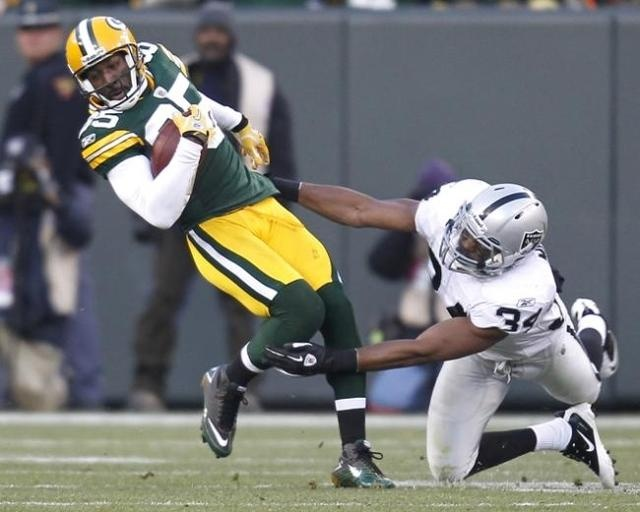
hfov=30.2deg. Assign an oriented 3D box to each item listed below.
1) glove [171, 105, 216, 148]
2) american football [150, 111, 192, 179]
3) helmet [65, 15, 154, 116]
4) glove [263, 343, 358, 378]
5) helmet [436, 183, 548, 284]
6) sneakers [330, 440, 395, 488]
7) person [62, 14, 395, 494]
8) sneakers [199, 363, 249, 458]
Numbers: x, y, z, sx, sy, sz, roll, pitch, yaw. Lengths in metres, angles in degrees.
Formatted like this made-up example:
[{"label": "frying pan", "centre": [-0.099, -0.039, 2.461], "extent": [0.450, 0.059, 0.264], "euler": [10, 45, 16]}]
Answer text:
[{"label": "glove", "centre": [-0.524, -0.566, 5.085], "extent": [0.181, 0.077, 0.182], "euler": [53, 29, 19]}, {"label": "american football", "centre": [-0.630, -0.468, 5.012], "extent": [0.120, 0.222, 0.197], "euler": [9, -13, 21]}, {"label": "helmet", "centre": [-0.930, -0.819, 5.252], "extent": [0.336, 0.416, 0.468], "euler": [-27, 2, -2]}, {"label": "glove", "centre": [-0.023, 0.445, 5.198], "extent": [0.425, 0.138, 0.121], "euler": [5, 12, -2]}, {"label": "helmet", "centre": [0.764, -0.142, 5.248], "extent": [0.383, 0.300, 0.490], "euler": [34, 47, 25]}, {"label": "sneakers", "centre": [0.209, 0.945, 5.329], "extent": [0.316, 0.215, 0.110], "euler": [3, -15, 30]}, {"label": "person", "centre": [-0.482, -0.066, 5.308], "extent": [1.251, 1.954, 0.524], "euler": [0, 1, -12]}, {"label": "sneakers", "centre": [-0.443, 0.698, 5.355], "extent": [0.160, 0.467, 0.243], "euler": [4, -14, -40]}]
